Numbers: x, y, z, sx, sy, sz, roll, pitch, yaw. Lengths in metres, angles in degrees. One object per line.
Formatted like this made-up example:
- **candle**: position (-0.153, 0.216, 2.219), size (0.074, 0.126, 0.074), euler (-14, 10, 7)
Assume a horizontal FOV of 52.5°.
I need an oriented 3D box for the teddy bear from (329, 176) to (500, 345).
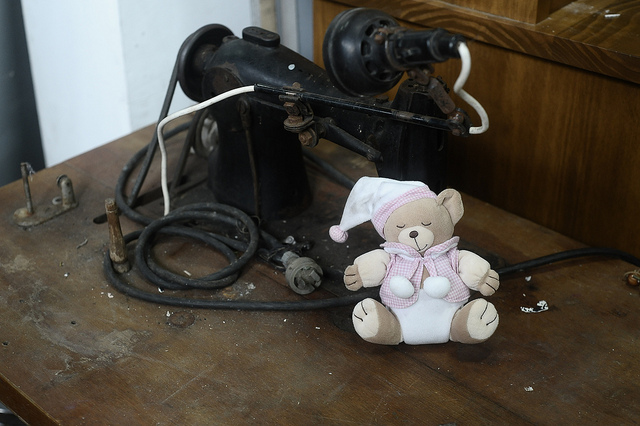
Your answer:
- **teddy bear**: position (0.191, 0.102, 1.332), size (0.317, 0.374, 0.209), euler (-4, 5, 15)
